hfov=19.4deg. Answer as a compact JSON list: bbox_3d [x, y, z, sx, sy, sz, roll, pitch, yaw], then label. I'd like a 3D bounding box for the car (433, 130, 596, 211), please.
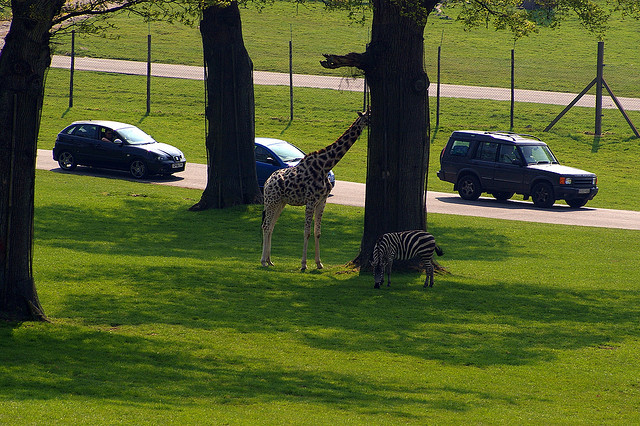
[{"bbox_3d":[8.958,-1.970,85.728,7.281,3.030,3.314,8,7,41],"label":"car"}]

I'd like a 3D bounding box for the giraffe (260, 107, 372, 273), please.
[{"bbox_3d":[-0.452,-0.867,72.848,3.442,5.928,1.216,4,7,-3],"label":"giraffe"}]

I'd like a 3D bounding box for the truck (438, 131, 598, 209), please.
[{"bbox_3d":[9.204,-2.075,85.294,6.968,2.889,3.031,4,6,35],"label":"truck"}]

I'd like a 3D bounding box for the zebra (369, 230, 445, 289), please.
[{"bbox_3d":[3.101,1.723,71.371,2.401,2.208,1.372,5,7,1],"label":"zebra"}]
